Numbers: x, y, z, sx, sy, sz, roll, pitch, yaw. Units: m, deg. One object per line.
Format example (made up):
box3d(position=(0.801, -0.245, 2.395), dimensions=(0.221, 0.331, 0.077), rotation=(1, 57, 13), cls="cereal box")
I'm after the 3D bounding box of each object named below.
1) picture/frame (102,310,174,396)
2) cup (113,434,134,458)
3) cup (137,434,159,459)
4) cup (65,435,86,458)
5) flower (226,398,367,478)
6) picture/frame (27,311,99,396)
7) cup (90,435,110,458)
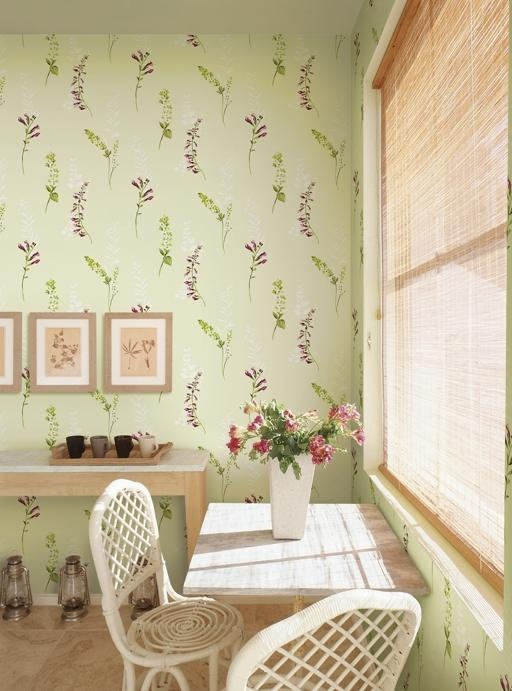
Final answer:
box3d(position=(-0.563, 0.035, 2.445), dimensions=(0.363, 0.460, 0.031), rotation=(0, 0, 1), cls="picture/frame")
box3d(position=(-0.573, 0.430, 2.206), dimensions=(0.062, 0.079, 0.100), rotation=(-1, 1, -9), cls="cup")
box3d(position=(-0.493, 0.444, 2.279), dimensions=(0.067, 0.103, 0.106), rotation=(-1, 3, -22), cls="cup")
box3d(position=(-0.780, 0.432, 2.206), dimensions=(0.097, 0.097, 0.065), rotation=(-2, -2, 30), cls="cup")
box3d(position=(0.115, 0.274, 1.679), dimensions=(0.415, 0.305, 0.436), rotation=(3, -9, 2), cls="flower")
box3d(position=(-0.927, 0.032, 2.455), dimensions=(0.361, 0.477, 0.036), rotation=(0, 0, 0), cls="picture/frame")
box3d(position=(-0.672, 0.434, 2.213), dimensions=(0.065, 0.093, 0.100), rotation=(0, 0, -10), cls="cup")
